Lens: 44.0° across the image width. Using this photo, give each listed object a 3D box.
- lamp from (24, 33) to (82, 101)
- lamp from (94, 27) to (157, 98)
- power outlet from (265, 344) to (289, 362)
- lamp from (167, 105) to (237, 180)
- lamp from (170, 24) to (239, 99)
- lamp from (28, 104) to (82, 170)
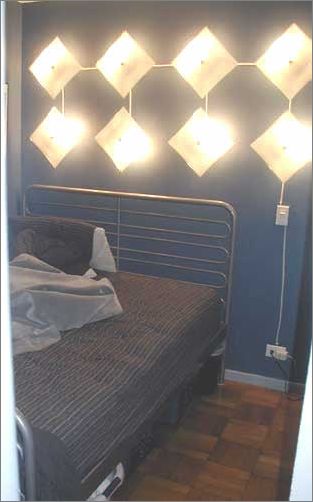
[{"bbox_3d":[-0.579,-1.015,2.173,0.290,0.295,0.072,42,25,11],"label":"lamp"},{"bbox_3d":[-0.166,-0.958,1.981,0.336,0.318,0.072,8,7,36],"label":"lamp"},{"bbox_3d":[0.556,0.468,1.790,0.098,0.067,0.067,7,25,28],"label":"power outlet"},{"bbox_3d":[0.210,-0.516,1.856,0.321,0.313,0.074,8,7,37],"label":"lamp"},{"bbox_3d":[0.219,-0.859,1.800,0.268,0.268,0.063,47,27,14],"label":"lamp"},{"bbox_3d":[-0.581,-0.657,2.247,0.362,0.334,0.092,8,7,35],"label":"lamp"}]
